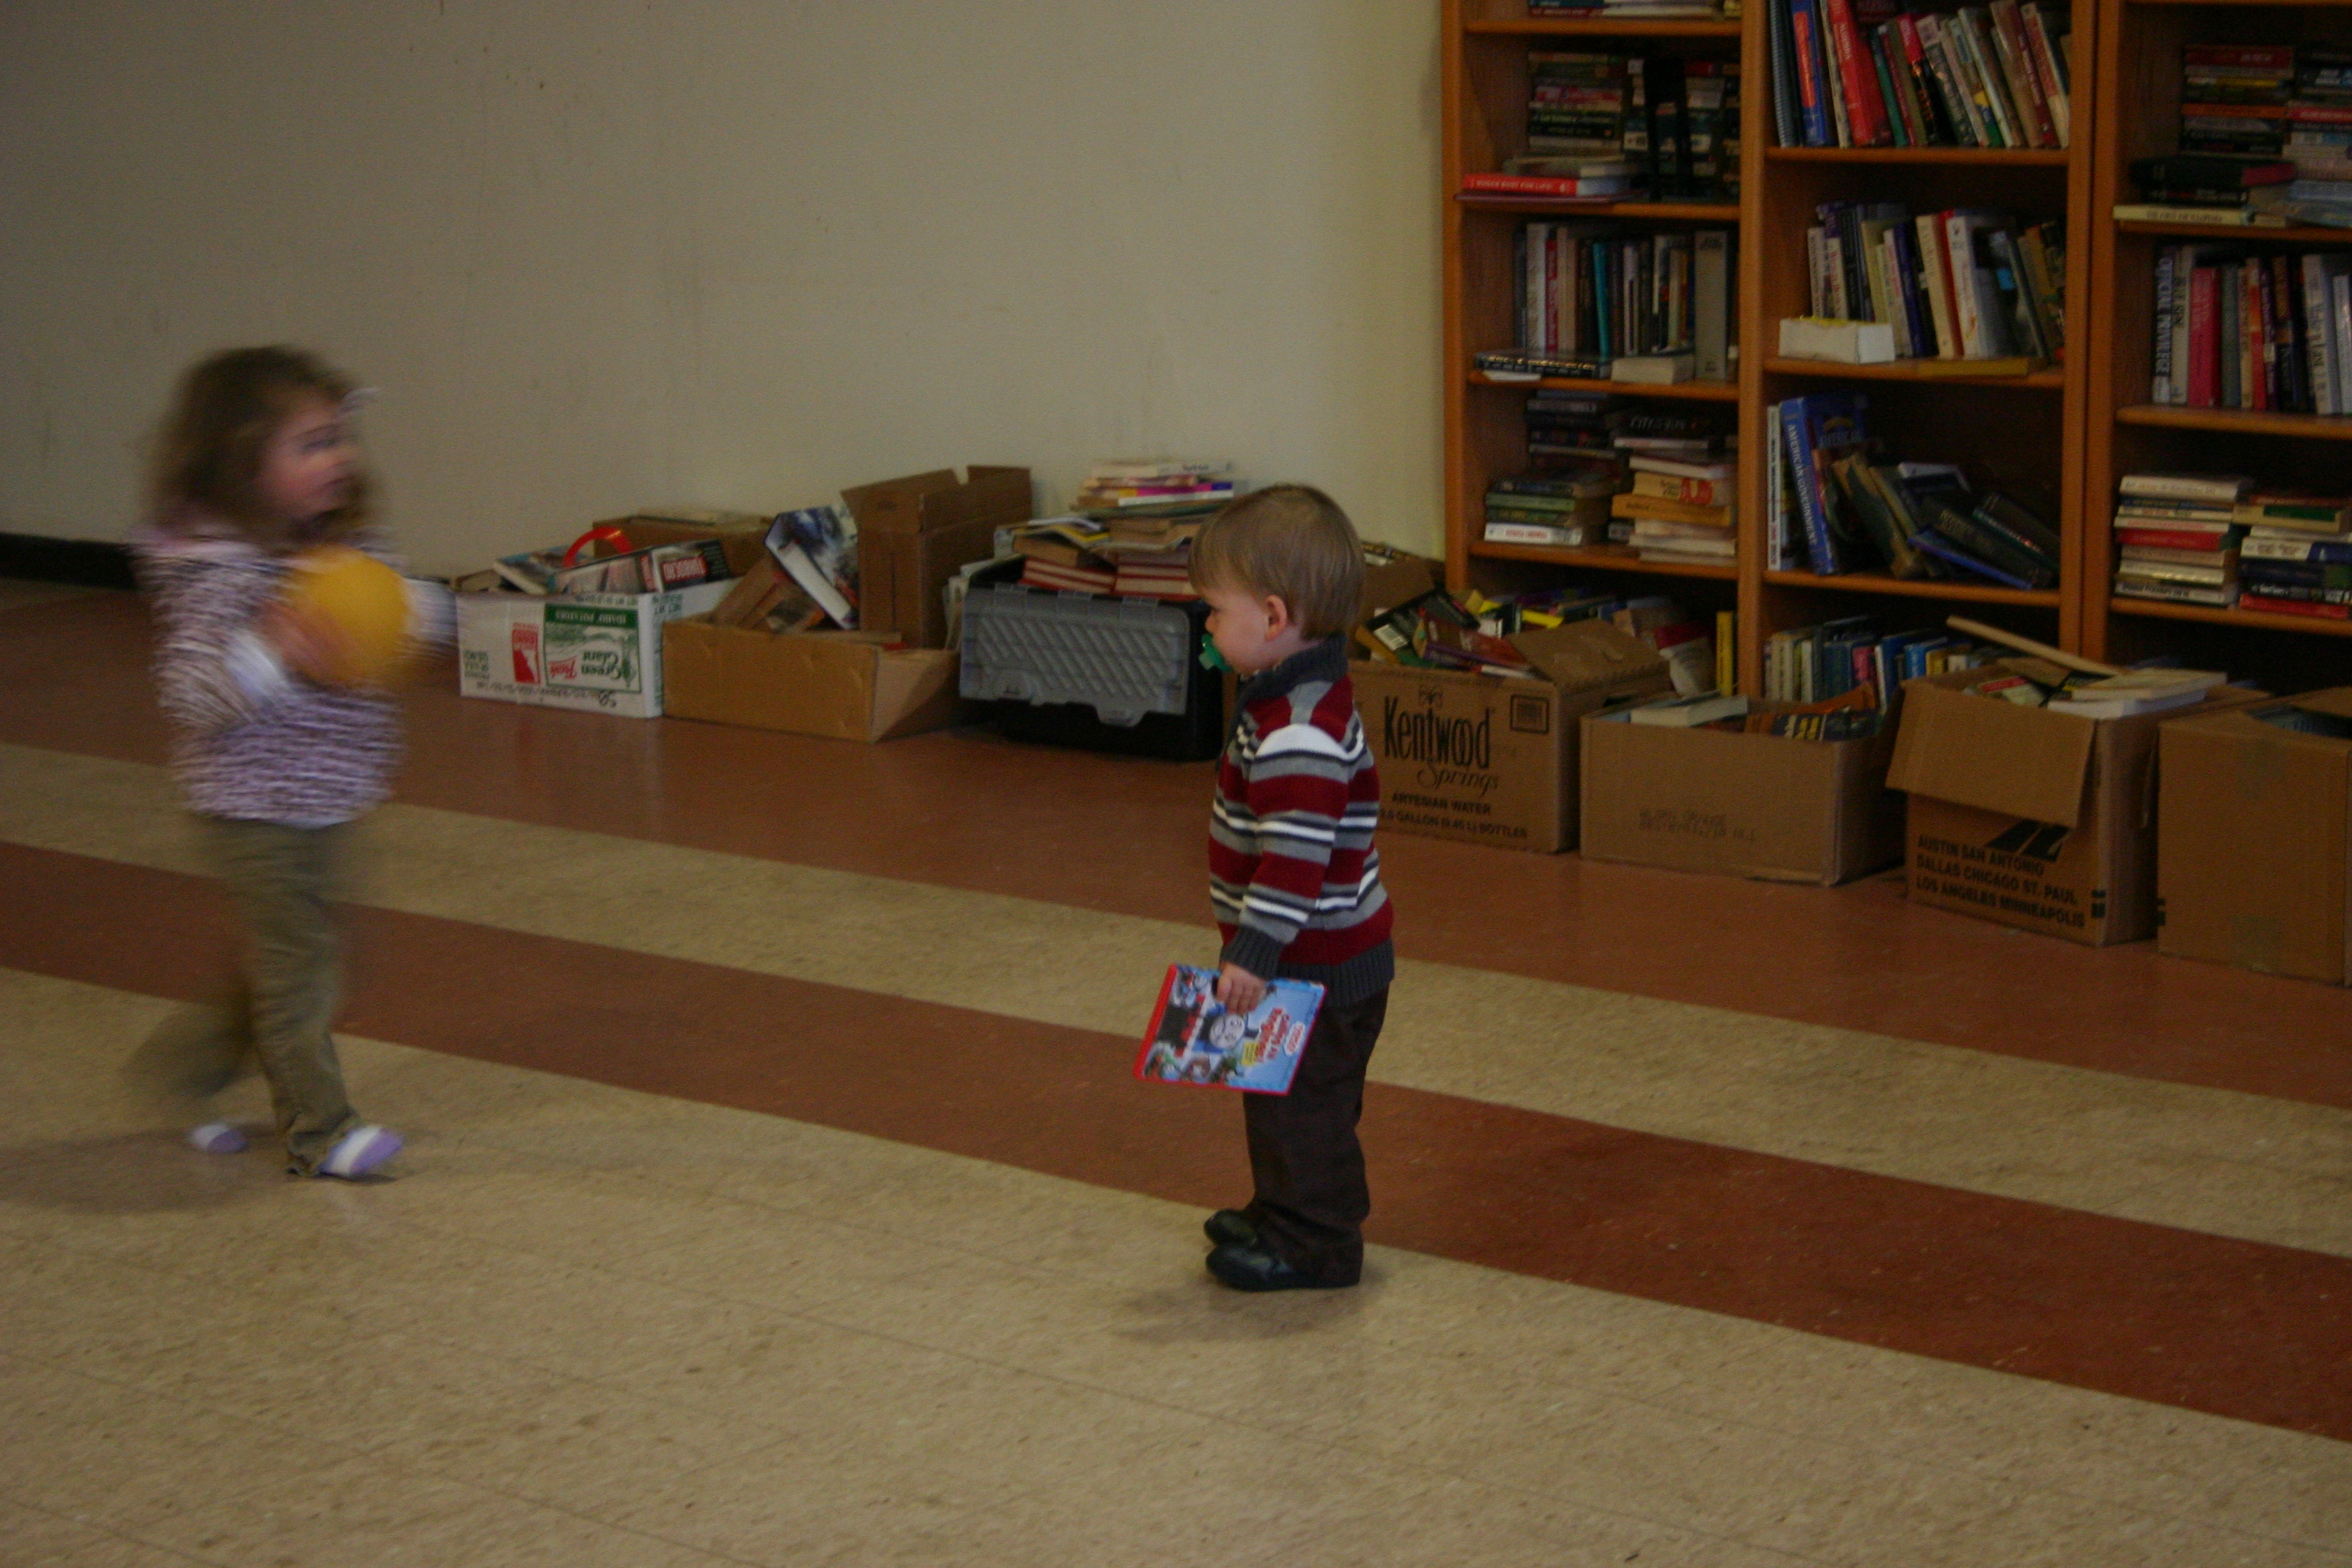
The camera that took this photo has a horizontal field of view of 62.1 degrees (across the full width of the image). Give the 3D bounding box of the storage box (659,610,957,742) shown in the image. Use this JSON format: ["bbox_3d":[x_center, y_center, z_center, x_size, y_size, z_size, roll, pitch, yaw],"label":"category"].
[{"bbox_3d":[-1.056,-0.360,6.580,1.266,0.315,1.224,3,7,2],"label":"storage box"}]

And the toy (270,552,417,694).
[{"bbox_3d":[-1.390,-0.268,3.256,0.218,0.243,0.098,-6,15,-22],"label":"toy"}]

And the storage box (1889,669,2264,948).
[{"bbox_3d":[2.150,0.047,4.503,0.765,0.503,0.673,-6,10,-24],"label":"storage box"}]

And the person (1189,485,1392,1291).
[{"bbox_3d":[0.178,0.188,2.952,0.295,1.247,0.339,-1,14,0],"label":"person"}]

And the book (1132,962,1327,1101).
[{"bbox_3d":[0.087,0.377,2.882,0.252,0.217,0.186,2,14,12],"label":"book"}]

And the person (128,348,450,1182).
[{"bbox_3d":[-1.527,-0.013,3.344,0.371,1.427,0.256,-6,15,-20],"label":"person"}]

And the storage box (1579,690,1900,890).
[{"bbox_3d":[1.189,0.047,4.968,0.829,0.337,0.595,5,-2,-31],"label":"storage box"}]

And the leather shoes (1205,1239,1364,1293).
[{"bbox_3d":[0.171,0.765,3.104,0.256,0.095,0.085,4,6,2],"label":"leather shoes"}]

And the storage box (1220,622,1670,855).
[{"bbox_3d":[0.788,-0.113,4.982,0.686,0.392,0.668,11,19,32],"label":"storage box"}]
